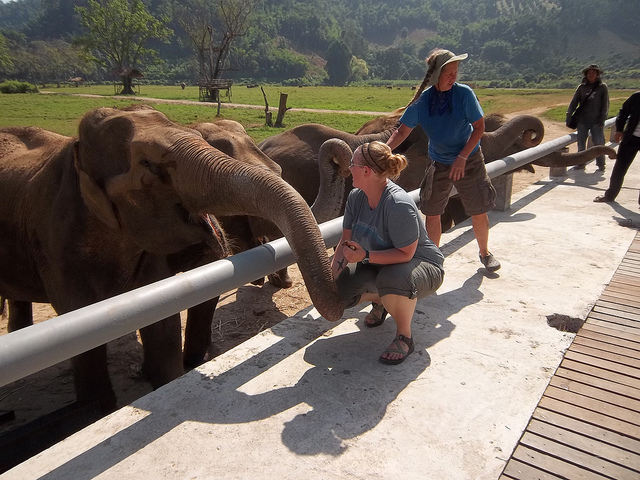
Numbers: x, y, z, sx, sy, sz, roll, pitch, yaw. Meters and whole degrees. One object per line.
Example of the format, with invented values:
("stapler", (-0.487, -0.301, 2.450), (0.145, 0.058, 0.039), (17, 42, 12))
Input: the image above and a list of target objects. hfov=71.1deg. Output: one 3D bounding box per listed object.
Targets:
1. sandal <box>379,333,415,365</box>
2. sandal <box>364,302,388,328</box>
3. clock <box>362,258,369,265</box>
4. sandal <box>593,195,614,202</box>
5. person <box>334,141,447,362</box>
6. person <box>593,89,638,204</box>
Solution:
("sandal", (0.464, 0.646, 2.759), (0.144, 0.131, 0.338), (12, 6, 12))
("sandal", (0.403, 0.501, 3.082), (0.090, 0.094, 0.248), (6, 18, 30))
("clock", (0.264, 0.121, 2.614), (0.034, 0.008, 0.035), (-27, -23, 16))
("sandal", (3.585, -0.521, 5.643), (0.187, 0.073, 0.072), (10, 11, 40))
("person", (0.383, 0.031, 2.835), (0.858, 1.193, 0.748), (-7, 10, -26))
("person", (3.957, -1.217, 5.865), (0.368, 1.302, 1.538), (13, 26, 30))
